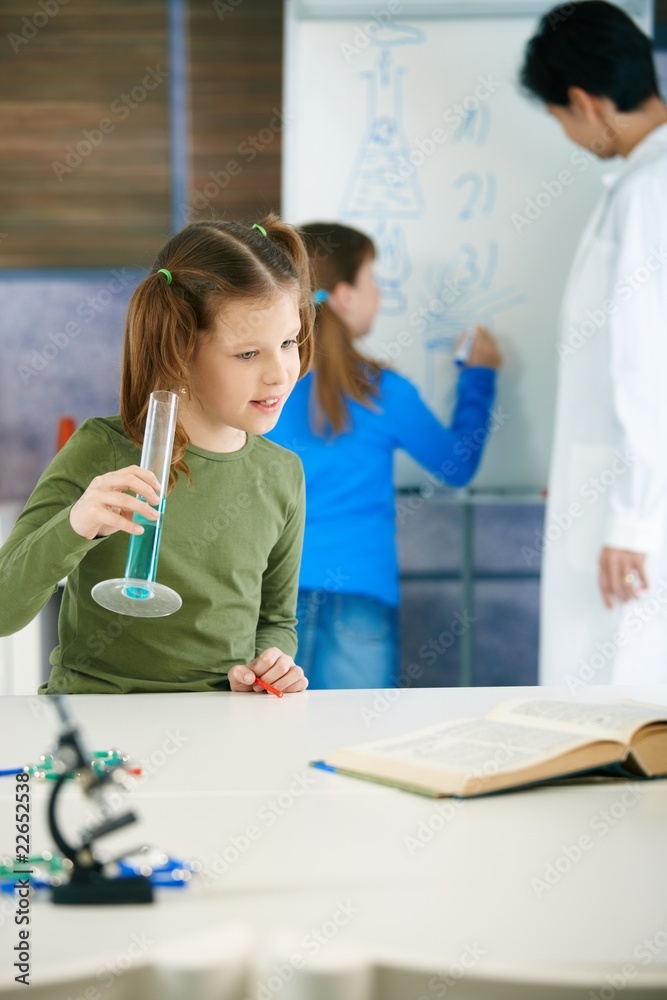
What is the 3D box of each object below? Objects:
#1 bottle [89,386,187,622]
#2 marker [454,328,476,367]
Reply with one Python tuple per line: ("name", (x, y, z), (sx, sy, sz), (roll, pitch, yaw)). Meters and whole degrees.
("bottle", (-0.164, 0.008, 1.008), (0.092, 0.203, 0.083), (-1, -3, 23))
("marker", (0.209, -0.245, 1.758), (0.023, 0.061, 0.049), (11, -7, -36))
